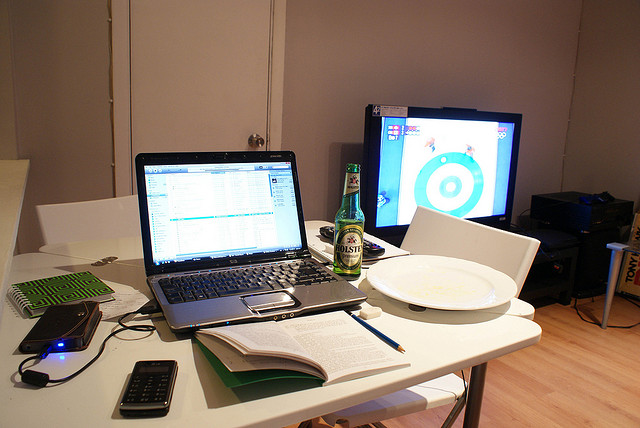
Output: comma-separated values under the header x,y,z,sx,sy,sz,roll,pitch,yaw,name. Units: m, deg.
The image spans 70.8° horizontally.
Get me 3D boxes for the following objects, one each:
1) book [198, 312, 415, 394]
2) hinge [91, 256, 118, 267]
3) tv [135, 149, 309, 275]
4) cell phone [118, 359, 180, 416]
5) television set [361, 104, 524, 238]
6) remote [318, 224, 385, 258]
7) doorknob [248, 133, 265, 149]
x,y,z,sx,sy,sz,roll,pitch,yaw,name
-0.044,0.374,1.271,0.575,0.115,0.222,-5,15,-14,book
-0.809,0.177,1.678,0.026,0.008,0.062,21,18,33,hinge
-0.341,-0.013,1.566,0.635,0.363,0.425,-4,11,-17,tv
-0.437,0.443,1.166,0.132,0.033,0.154,5,32,1,cell phone
0.874,-0.282,3.206,1.285,0.882,0.140,-4,11,-26,television set
0.142,0.102,1.866,0.288,0.048,0.089,26,23,28,remote
-0.393,-0.441,2.744,0.084,0.079,0.076,11,0,-35,doorknob
